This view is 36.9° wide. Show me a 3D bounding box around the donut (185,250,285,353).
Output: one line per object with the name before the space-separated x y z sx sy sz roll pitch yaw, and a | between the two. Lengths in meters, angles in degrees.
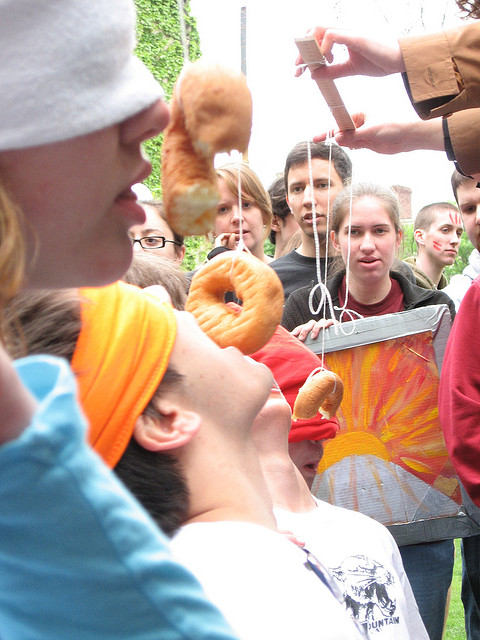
donut | 0.007 -0.027 1.298 0.219 0.076 0.169 -10 73 29

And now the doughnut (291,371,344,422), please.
doughnut | 0.202 0.249 2.188 0.078 0.171 0.149 28 47 20

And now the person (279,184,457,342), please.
person | 0.643 -0.227 3.528 1.138 0.729 0.494 1 -1 17
